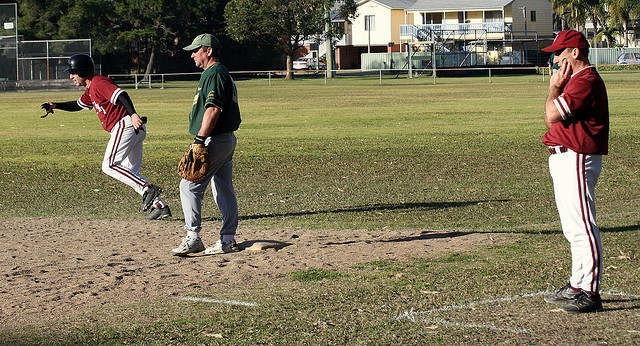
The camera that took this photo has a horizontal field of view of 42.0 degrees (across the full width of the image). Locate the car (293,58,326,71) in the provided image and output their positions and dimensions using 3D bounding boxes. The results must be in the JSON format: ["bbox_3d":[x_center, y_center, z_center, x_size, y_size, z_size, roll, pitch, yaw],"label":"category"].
[{"bbox_3d":[-0.998,-10.874,82.826,1.912,1.200,4.068,4,14,32],"label":"car"}]

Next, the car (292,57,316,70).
[{"bbox_3d":[-1.464,-10.800,82.400,1.284,0.846,2.820,2,12,15],"label":"car"}]

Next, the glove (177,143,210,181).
[{"bbox_3d":[-2.423,-0.194,16.052,0.612,0.719,0.242,-3,8,-2],"label":"glove"}]
